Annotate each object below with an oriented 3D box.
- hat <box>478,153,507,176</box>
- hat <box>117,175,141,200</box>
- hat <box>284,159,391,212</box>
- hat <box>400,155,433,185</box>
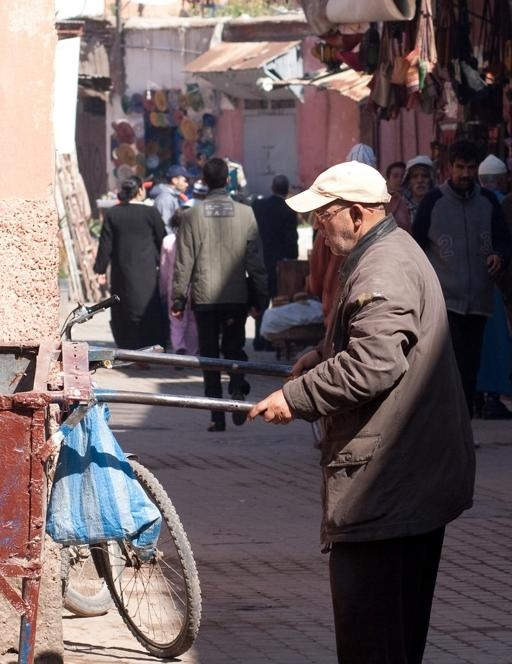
[{"bbox_3d":[1.634,-1.144,9.670,0.153,0.114,0.164,11,24,34],"label":"hat"},{"bbox_3d":[-1.105,-1.240,12.199,0.210,0.214,0.247,-3,10,-5],"label":"hat"},{"bbox_3d":[0.262,-0.439,4.213,0.302,0.172,0.207,0,8,10],"label":"hat"},{"bbox_3d":[1.137,-1.157,9.725,0.223,0.111,0.340,-1,3,3],"label":"hat"}]
